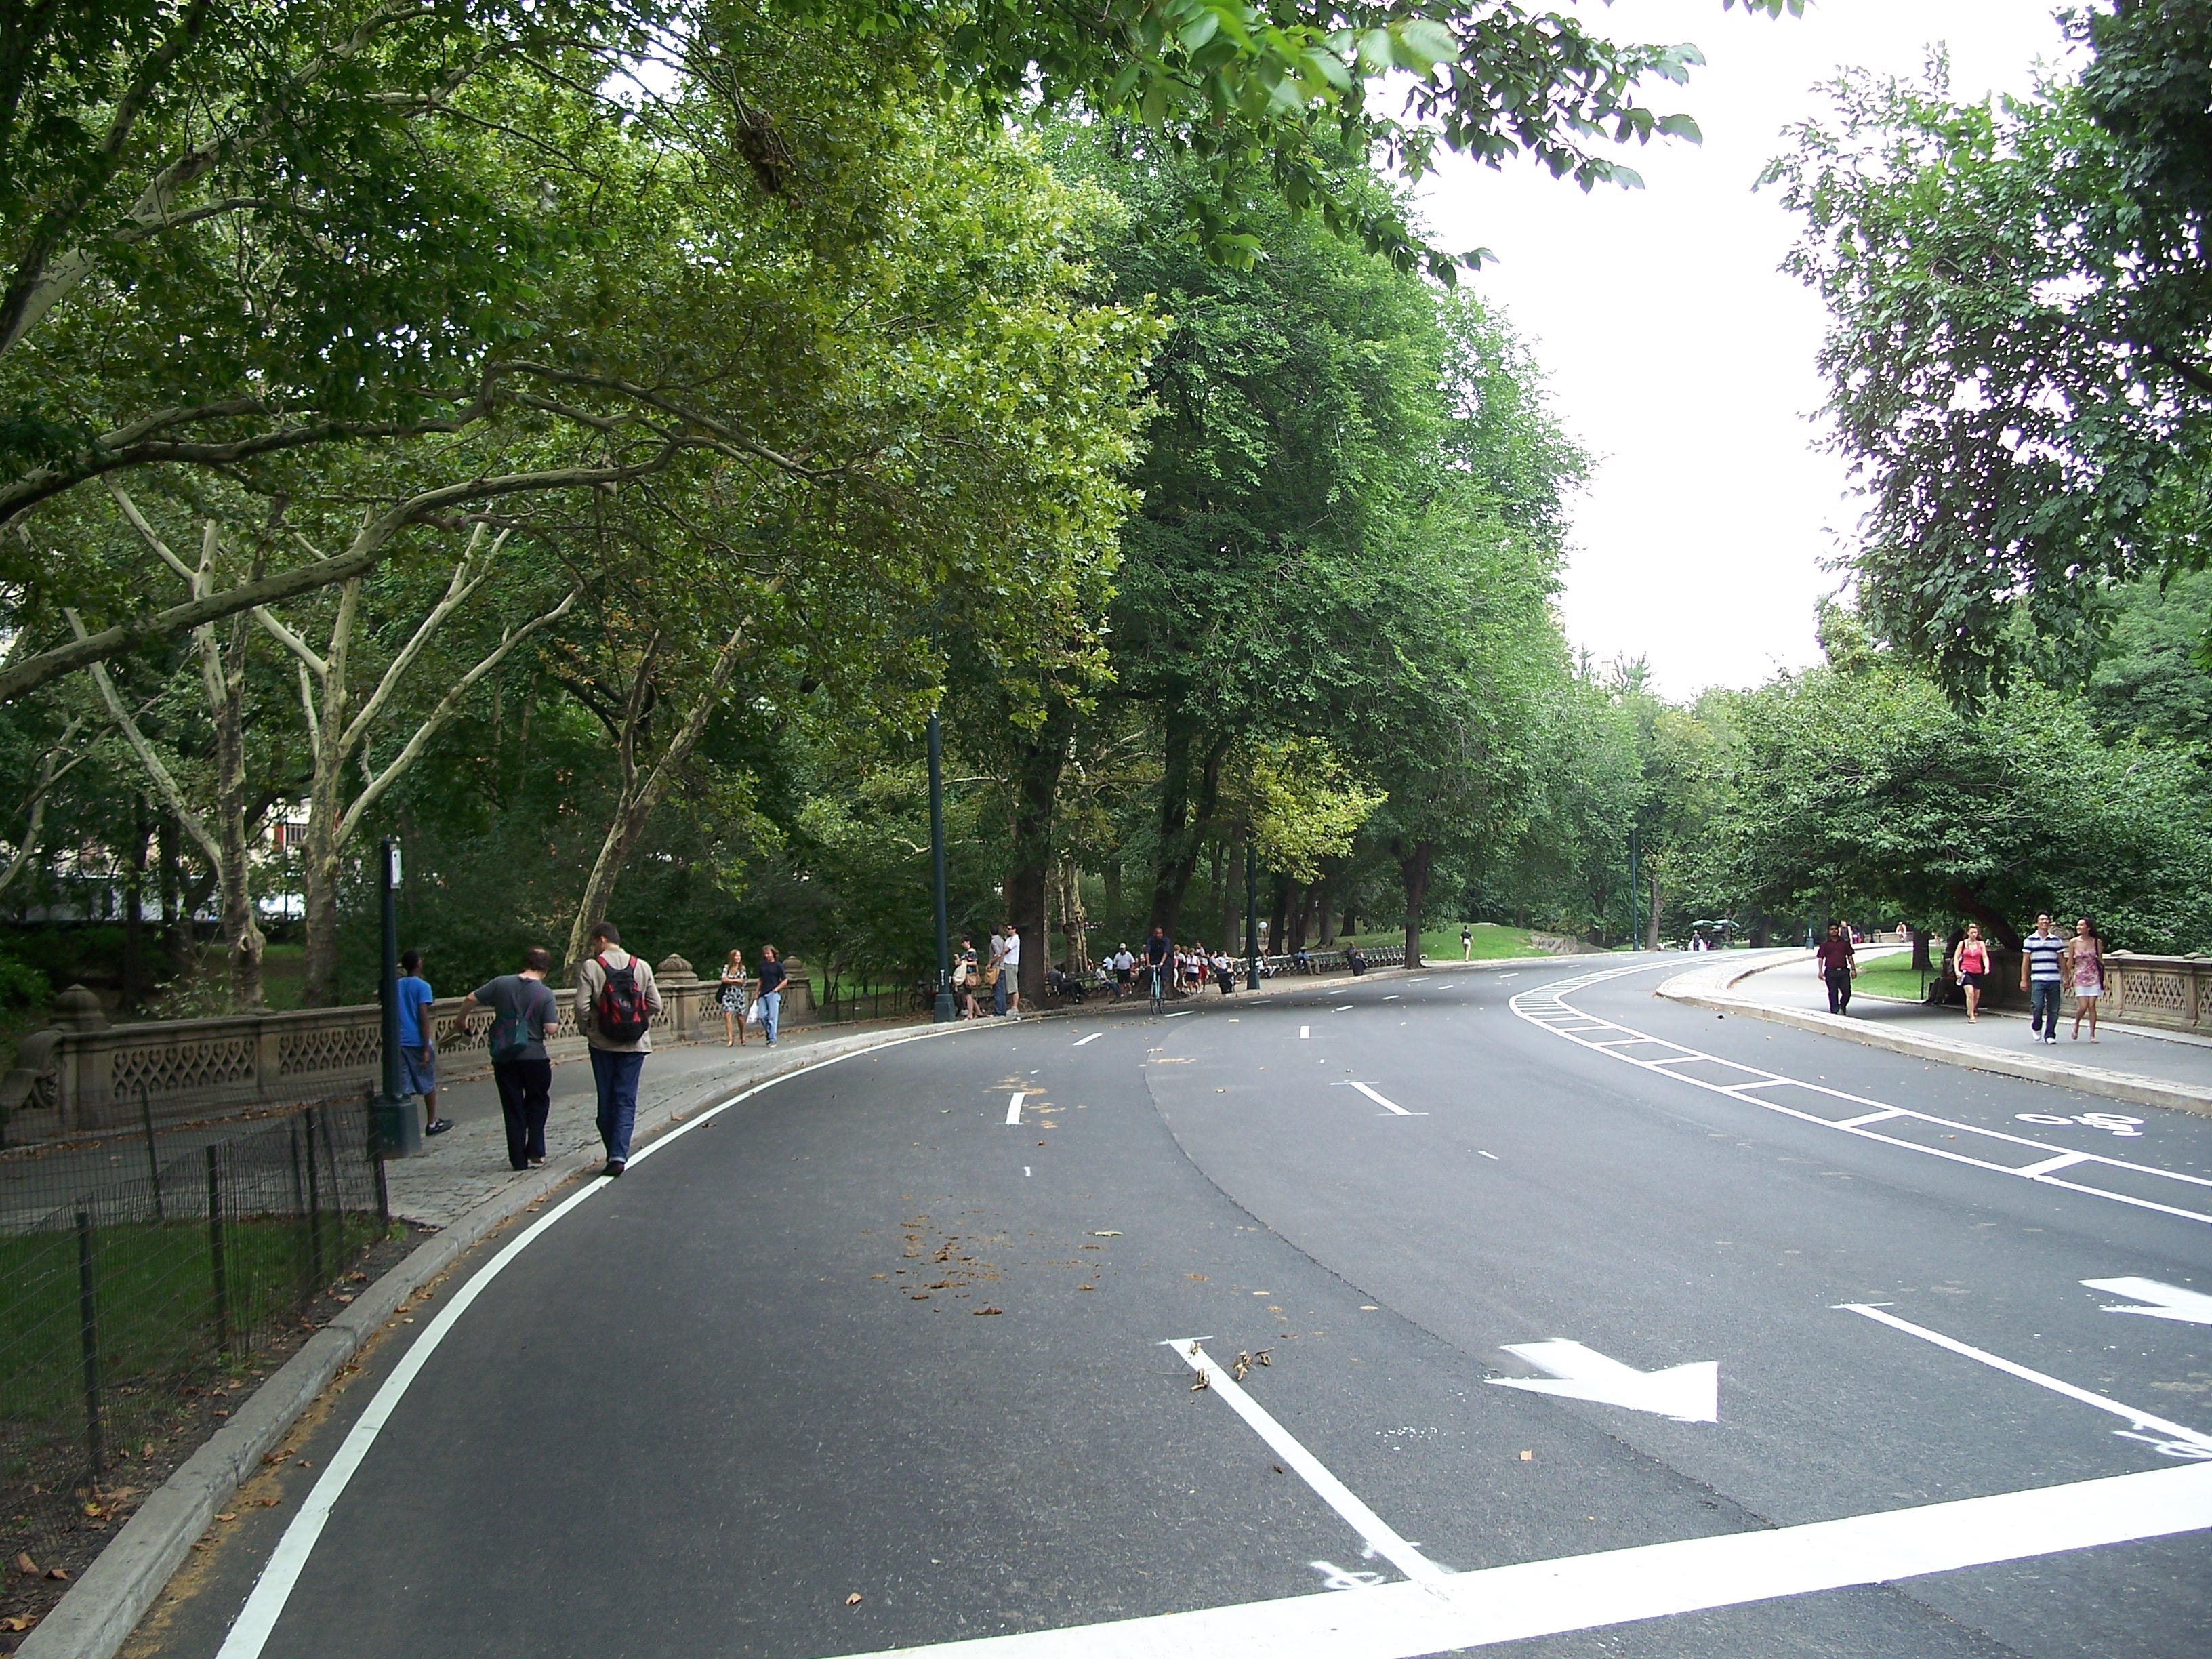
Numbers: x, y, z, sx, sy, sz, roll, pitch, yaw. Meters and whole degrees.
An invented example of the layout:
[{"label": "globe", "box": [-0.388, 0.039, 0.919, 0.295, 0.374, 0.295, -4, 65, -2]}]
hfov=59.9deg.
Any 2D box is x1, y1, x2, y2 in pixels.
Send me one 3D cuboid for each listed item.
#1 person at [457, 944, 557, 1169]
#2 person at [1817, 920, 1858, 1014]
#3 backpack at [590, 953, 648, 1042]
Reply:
[{"label": "person", "box": [-5.522, 2.151, 18.103, 0.605, 2.088, 0.951, -3, 6, -19]}, {"label": "person", "box": [13.512, 2.579, 35.475, 0.458, 1.633, 1.962, 1, 5, 19]}, {"label": "backpack", "box": [-4.449, 1.580, 17.656, 0.551, 0.763, 0.335, -3, 6, -20]}]
